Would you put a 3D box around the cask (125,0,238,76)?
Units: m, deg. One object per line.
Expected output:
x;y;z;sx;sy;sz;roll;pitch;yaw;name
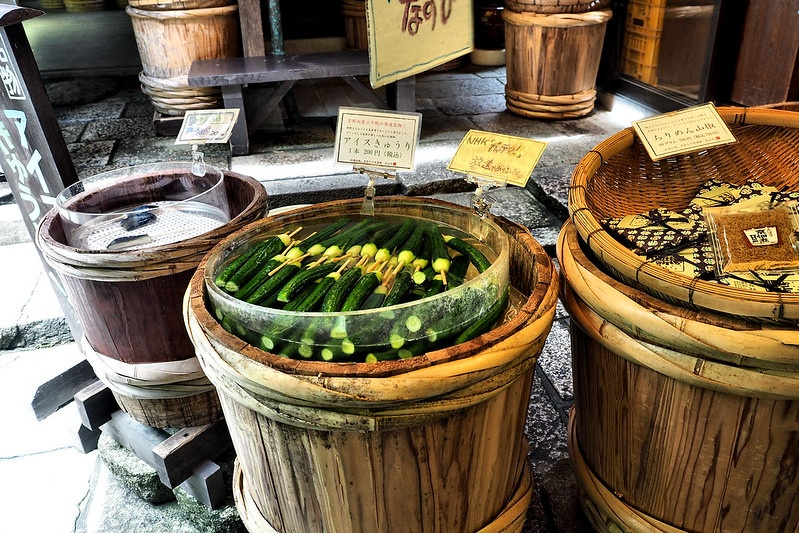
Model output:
-2.344;-2.399;5.705;0.989;0.717;0.958;5;25;11;cask

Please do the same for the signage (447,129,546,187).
0.412;-0.469;2.195;0.345;0.160;0.169;20;36;35;signage

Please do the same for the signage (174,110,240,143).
-1.032;-0.747;2.781;0.325;0.189;0.324;-7;29;-8;signage

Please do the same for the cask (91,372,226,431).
-1.230;0.772;2.758;0.416;0.155;0.403;-2;19;-7;cask

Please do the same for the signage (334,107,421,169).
-0.102;-0.568;2.283;0.484;0.332;0.048;6;7;9;signage
